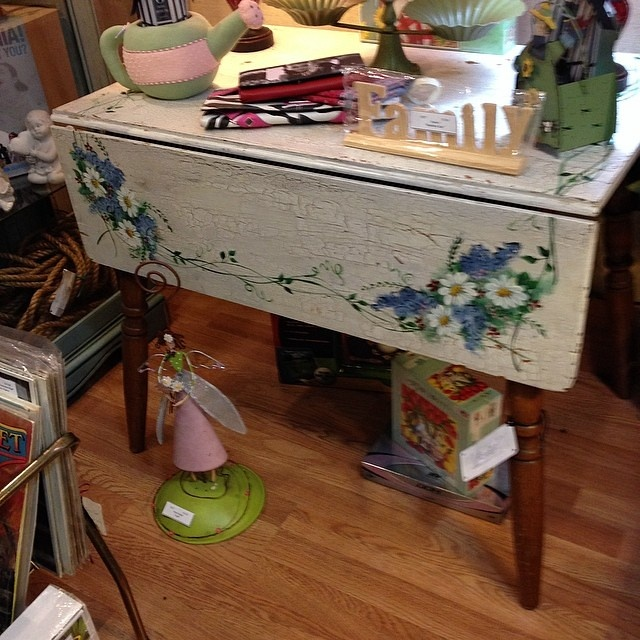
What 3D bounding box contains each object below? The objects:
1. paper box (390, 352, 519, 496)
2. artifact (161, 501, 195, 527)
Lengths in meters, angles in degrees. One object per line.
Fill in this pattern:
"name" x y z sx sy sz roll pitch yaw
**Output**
"paper box" 0.277 0.220 1.192 0.130 0.313 0.311 -36 55 -24
"artifact" -0.327 0.451 1.327 0.073 0.008 0.032 19 74 20
